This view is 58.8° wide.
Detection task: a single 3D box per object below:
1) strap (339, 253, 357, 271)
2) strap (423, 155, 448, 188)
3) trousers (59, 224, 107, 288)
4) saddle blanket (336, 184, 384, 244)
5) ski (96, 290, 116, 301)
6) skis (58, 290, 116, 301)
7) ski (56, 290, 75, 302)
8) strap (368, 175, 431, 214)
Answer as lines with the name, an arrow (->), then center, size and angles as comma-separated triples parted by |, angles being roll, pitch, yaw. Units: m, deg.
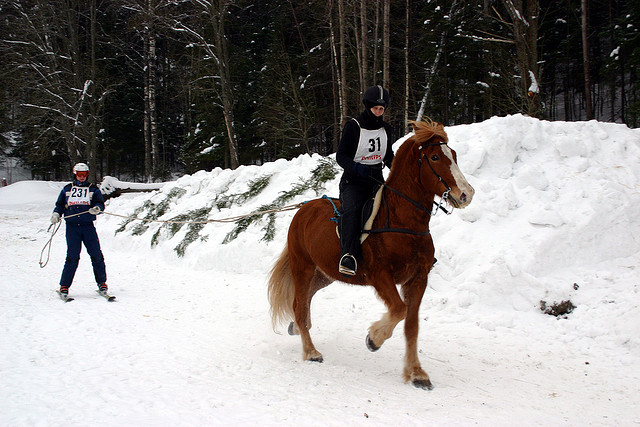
strap -> 0.642, 1.071, 12.303 | 0.422, 0.388, 0.101 | -1, -2, 2
strap -> 2.442, -0.887, 11.897 | 0.093, 0.769, 0.103 | -26, -16, -13
trousers -> -6.516, 1.164, 15.812 | 1.151, 1.675, 0.529 | -3, 7, -20
saddle blanket -> 0.931, 0.053, 12.520 | 0.953, 1.330, 0.360 | 5, 0, 3
ski -> -5.738, 2.258, 15.583 | 0.175, 0.099, 1.272 | -26, 17, -27
skis -> -6.067, 2.285, 15.849 | 1.407, 0.075, 0.162 | -1, 38, 39
ski -> -6.749, 2.269, 15.298 | 0.160, 0.150, 1.077 | -7, 5, -34
strap -> 1.776, -0.379, 12.269 | 1.406, 0.101, 0.133 | 34, -2, 17
